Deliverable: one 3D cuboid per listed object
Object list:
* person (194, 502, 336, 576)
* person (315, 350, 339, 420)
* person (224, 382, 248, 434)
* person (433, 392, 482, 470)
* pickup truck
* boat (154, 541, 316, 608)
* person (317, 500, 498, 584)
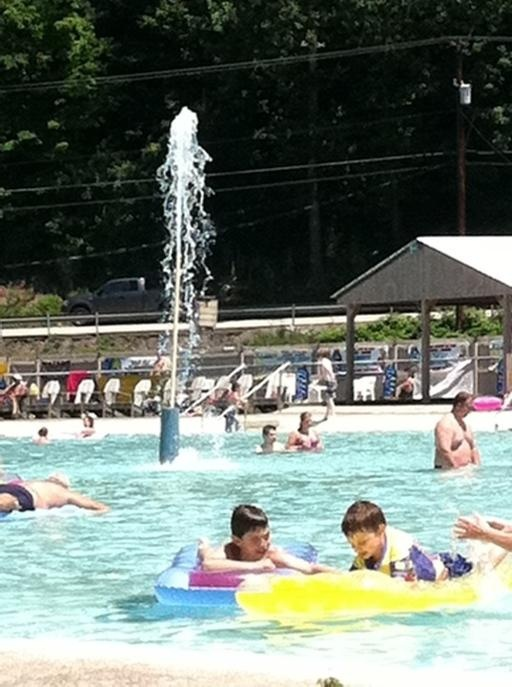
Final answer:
[{"bbox_3d":[-0.016,1.501,10.082,0.549,0.348,0.820,-3,5,-35],"label":"person"},{"bbox_3d":[1.328,0.810,25.623,0.582,1.609,0.613,1,-22,0],"label":"person"},{"bbox_3d":[-0.372,1.039,22.801,0.362,0.794,0.907,-2,5,-2],"label":"person"},{"bbox_3d":[2.586,1.132,17.144,0.573,1.101,0.760,4,12,22],"label":"person"},{"bbox_3d":[-3.717,-1.131,37.170,2.841,1.269,4.851,-4,5,-19],"label":"pickup truck"},{"bbox_3d":[-0.281,1.785,10.337,0.780,0.197,0.819,3,7,-7],"label":"boat"},{"bbox_3d":[1.112,1.499,9.913,0.936,0.588,0.568,9,2,3],"label":"person"}]
